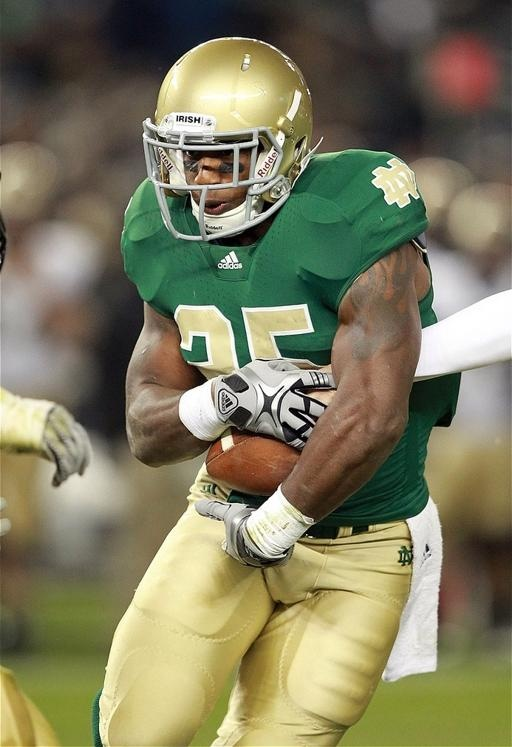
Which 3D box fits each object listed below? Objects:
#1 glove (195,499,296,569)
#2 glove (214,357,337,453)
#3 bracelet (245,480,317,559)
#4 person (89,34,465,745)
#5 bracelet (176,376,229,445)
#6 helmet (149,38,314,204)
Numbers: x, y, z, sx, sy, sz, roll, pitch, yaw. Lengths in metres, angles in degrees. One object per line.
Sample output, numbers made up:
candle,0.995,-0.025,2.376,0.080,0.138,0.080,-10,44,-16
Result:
glove,0.049,0.268,1.465,0.163,0.119,0.252,-3,7,5
glove,0.026,0.047,1.446,0.220,0.122,0.066,6,-8,15
bracelet,0.037,0.240,1.390,0.127,0.109,0.184,-2,11,-1
person,-0.005,0.102,1.508,0.716,1.314,0.713,5,26,14
bracelet,-0.103,0.065,1.497,0.090,0.109,0.091,6,11,44
helmet,-0.009,-0.486,1.549,0.278,0.244,0.348,13,36,35
